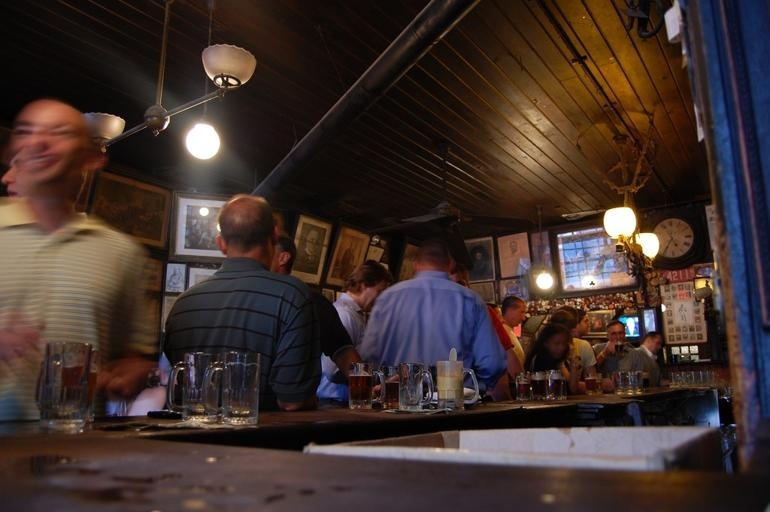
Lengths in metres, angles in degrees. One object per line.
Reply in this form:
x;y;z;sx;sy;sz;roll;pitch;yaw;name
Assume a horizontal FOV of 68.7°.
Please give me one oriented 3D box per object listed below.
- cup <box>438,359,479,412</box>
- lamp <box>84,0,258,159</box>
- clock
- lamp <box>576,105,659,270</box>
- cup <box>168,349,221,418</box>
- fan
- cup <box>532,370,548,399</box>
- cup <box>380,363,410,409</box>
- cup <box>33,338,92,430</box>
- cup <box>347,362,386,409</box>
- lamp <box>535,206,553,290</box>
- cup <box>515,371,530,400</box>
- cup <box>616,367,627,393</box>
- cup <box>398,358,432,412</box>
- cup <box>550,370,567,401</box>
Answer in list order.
0.319;0.573;2.482;0.208;0.198;0.123;-1;-13;8;cup
-1.826;-1.527;4.733;1.191;1.017;0.321;-22;-36;21;lamp
4.659;-0.289;8.887;0.290;0.967;0.989;5;-5;-42;clock
2.819;-0.650;6.584;0.869;1.545;2.231;-9;-16;25;lamp
-0.671;0.447;1.899;0.126;0.212;0.218;-8;-16;22;cup
1.129;-0.639;7.716;0.895;1.098;2.901;-6;-9;36;fan
0.892;0.735;3.213;0.093;0.150;0.091;-2;-14;0;cup
0.022;0.601;2.569;0.116;0.178;0.185;4;-9;24;cup
-0.970;0.389;1.692;0.141;0.255;0.110;5;-16;-26;cup
-0.069;0.599;2.608;0.191;0.187;0.114;-5;-12;30;cup
2.700;-0.065;9.581;0.305;1.231;1.347;-6;-15;17;lamp
0.800;0.741;3.228;0.087;0.152;0.217;-6;-14;14;cup
1.762;0.917;4.154;0.061;0.142;0.110;-1;-14;-4;cup
0.134;0.575;2.481;0.147;0.194;0.350;-4;-14;9;cup
1.021;0.748;3.309;0.086;0.169;0.338;-6;-14;15;cup
